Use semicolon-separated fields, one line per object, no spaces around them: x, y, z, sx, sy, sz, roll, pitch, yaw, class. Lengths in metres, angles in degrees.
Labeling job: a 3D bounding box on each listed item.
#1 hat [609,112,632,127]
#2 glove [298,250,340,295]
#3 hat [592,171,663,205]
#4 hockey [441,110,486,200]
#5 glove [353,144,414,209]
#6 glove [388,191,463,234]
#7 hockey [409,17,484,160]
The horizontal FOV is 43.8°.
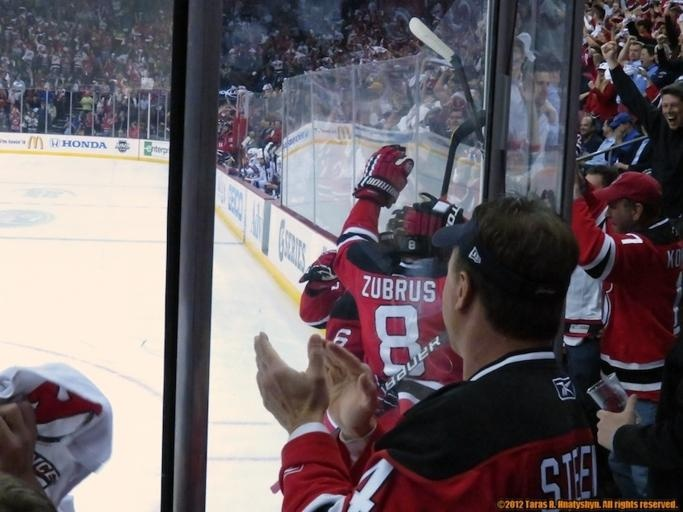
1.759;-0.856;5.345;0.068;0.057;0.096;-23;8;-39;hat
-0.081;0.072;3.197;0.164;0.115;0.103;-1;16;-3;glove
1.274;-0.290;3.787;0.226;0.131;0.151;0;10;26;hat
0.464;-0.364;3.224;0.175;0.476;0.046;2;-36;7;hockey
0.166;-0.299;3.266;0.182;0.250;0.105;33;-2;7;glove
0.316;-0.155;3.259;0.182;0.099;0.194;6;12;12;glove
0.388;-0.657;3.228;0.080;0.583;0.085;-32;22;-2;hockey
